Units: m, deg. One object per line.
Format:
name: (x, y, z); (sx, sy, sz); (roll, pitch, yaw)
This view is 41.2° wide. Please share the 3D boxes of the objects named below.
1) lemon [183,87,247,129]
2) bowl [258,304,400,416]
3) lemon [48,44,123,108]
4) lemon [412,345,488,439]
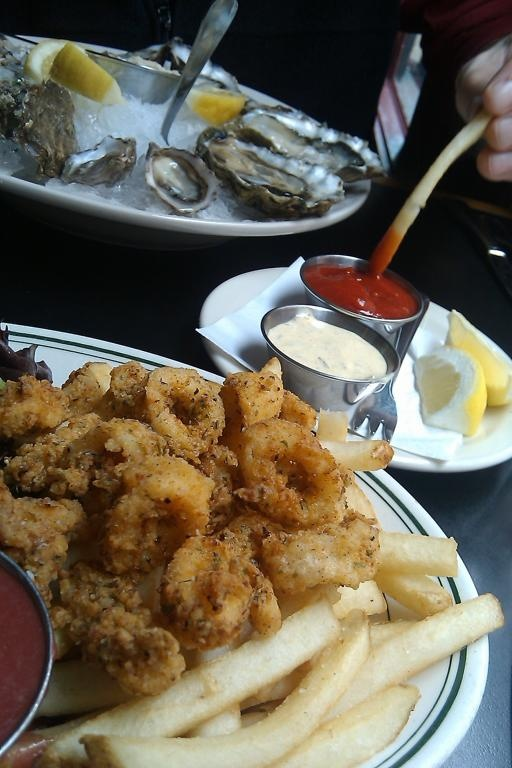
lemon: (-0.156, -1.159, 2.759); (0.208, 0.118, 0.194); (14, 27, -11)
bowl: (0.188, -0.062, 2.014); (0.383, 0.149, 0.369); (18, 33, -12)
lemon: (-0.557, -0.992, 2.274); (0.245, 0.134, 0.107); (35, 2, -27)
lemon: (0.595, 0.028, 2.064); (0.237, 0.107, 0.443); (-9, 32, 6)
